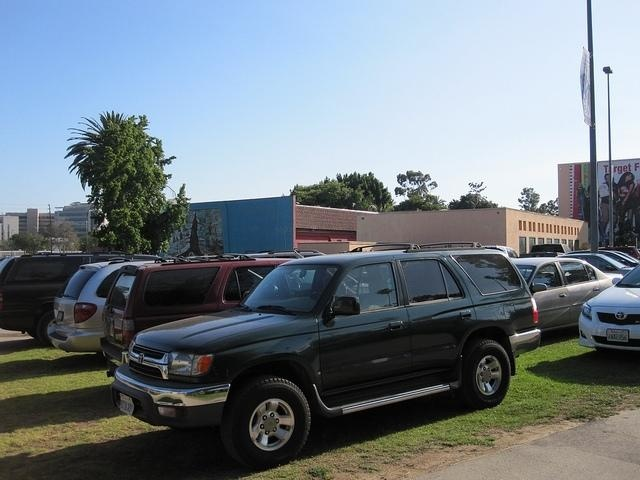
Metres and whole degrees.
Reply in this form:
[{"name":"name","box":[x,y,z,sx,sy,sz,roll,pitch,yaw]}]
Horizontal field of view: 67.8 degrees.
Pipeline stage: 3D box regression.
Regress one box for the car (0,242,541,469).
[{"name":"car","box":[0.381,1.232,6.567,5.129,1.899,2.536,1,-2,-31]}]

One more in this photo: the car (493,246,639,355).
[{"name":"car","box":[5.738,1.291,11.828,4.324,1.335,1.907,0,-4,-42]}]
